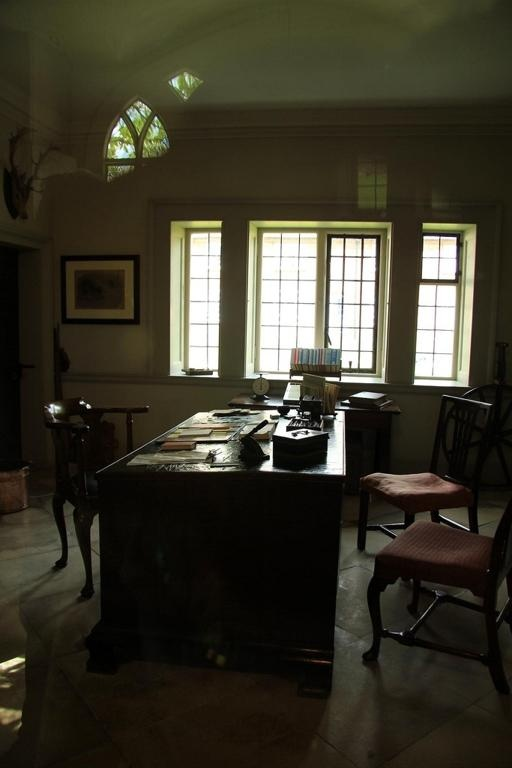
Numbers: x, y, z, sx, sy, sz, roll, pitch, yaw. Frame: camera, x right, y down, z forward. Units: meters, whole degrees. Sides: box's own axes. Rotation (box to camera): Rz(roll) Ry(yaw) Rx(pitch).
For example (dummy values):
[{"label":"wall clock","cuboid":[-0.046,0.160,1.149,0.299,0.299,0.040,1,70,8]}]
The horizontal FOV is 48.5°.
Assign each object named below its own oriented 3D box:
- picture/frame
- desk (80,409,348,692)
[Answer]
[{"label":"picture/frame","cuboid":[-1.242,-0.761,4.514,0.594,0.566,0.031,-4,30,-22]},{"label":"desk","cuboid":[-0.061,0.569,2.620,0.869,0.768,1.600,3,7,10]}]
